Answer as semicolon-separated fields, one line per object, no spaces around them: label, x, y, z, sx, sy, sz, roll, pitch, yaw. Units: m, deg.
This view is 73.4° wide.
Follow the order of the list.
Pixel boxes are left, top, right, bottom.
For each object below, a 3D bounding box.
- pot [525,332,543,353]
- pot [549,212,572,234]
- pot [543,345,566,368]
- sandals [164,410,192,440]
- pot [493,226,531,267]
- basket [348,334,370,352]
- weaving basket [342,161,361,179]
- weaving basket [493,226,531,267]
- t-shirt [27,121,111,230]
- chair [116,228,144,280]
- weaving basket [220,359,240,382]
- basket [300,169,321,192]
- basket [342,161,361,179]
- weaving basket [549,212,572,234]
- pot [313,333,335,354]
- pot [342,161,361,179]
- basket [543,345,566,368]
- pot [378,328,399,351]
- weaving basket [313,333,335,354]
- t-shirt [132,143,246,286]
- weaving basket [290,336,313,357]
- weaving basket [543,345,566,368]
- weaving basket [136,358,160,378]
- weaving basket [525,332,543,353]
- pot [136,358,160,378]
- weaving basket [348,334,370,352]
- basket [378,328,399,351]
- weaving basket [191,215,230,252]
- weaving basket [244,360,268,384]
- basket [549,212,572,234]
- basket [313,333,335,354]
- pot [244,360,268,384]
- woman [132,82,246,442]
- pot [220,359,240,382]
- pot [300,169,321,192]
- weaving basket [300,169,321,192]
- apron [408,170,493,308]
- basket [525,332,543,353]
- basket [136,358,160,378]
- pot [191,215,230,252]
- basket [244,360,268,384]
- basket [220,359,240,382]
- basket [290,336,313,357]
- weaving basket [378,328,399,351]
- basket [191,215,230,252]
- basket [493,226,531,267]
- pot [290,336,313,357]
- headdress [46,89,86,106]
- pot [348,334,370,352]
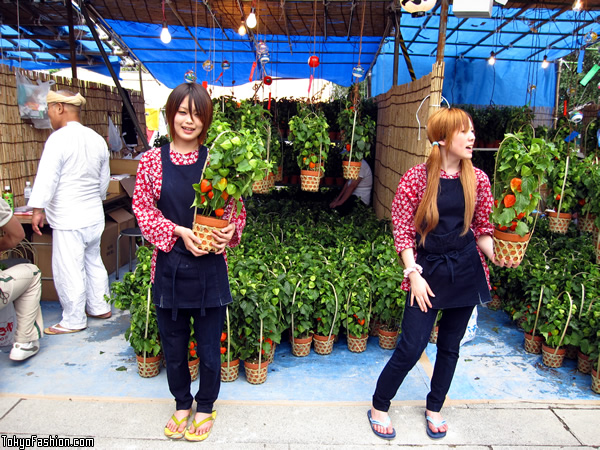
pot;2.534;1.303;4.485;0.188;0.187;0.194;1;1;0
pot;3.265;-0.030;5.140;0.261;0.296;0.269;1;-1;0
pot;2.662;1.362;4.292;0.215;0.201;0.222;2;0;0
sandals;-0.957;1.569;3.139;0.107;0.077;0.276;5;2;2
pot;1.678;0.171;3.230;0.272;0.238;0.254;8;3;0
basket;0.633;1.246;4.412;0.193;0.196;0.201;3;3;25
weaving basket;0.709;-0.782;5.646;0.239;0.216;0.242;1;6;10
weaving basket;1.650;0.167;3.184;0.272;0.238;0.254;10;4;32
t-shirt;-2.649;-0.601;4.756;0.520;1.130;0.841;14;12;28
chair;-2.602;0.424;5.996;0.473;0.602;0.486;-15;-12;43
weaving basket;-0.665;1.375;3.866;0.205;0.161;0.190;4;6;35
basket;0.112;-0.593;5.321;0.265;0.271;0.269;-2;10;-17
basket;0.710;-0.782;5.648;0.239;0.216;0.242;1;6;10
weaving basket;3.261;-0.029;5.210;0.261;0.296;0.269;1;-1;1
pot;0.235;1.254;4.357;0.206;0.174;0.222;2;-1;0
pot;0.707;-0.778;5.629;0.239;0.216;0.242;0;6;0
basket;2.617;1.356;4.258;0.215;0.201;0.222;2;0;6
pot;0.960;1.238;4.430;0.207;0.168;0.205;2;-1;0
weaving basket;0.234;1.263;4.355;0.206;0.174;0.222;3;-2;-41
t-shirt;-0.855;-0.056;2.958;0.665;0.996;0.334;-2;15;-7
weaving basket;0.006;1.277;4.239;0.205;0.159;0.200;1;-1;-12
weaving basket;2.620;1.356;4.263;0.215;0.201;0.222;2;0;6
weaving basket;-1.441;1.346;3.924;0.210;0.179;0.211;3;1;13
weaving basket;2.537;1.309;4.490;0.188;0.187;0.194;1;1;2
pot;-1.435;1.346;3.909;0.210;0.179;0.211;2;1;0
weaving basket;0.631;1.246;4.380;0.193;0.196;0.201;3;3;25
basket;0.960;1.241;4.439;0.207;0.168;0.205;1;-1;22
weaving basket;-0.645;0.045;2.802;0.232;0.263;0.239;6;2;38
weaving basket;-0.417;1.394;3.877;0.201;0.167;0.218;0;-2;1
basket;3.252;-0.032;5.200;0.261;0.296;0.269;1;-1;1
basket;0.244;1.258;4.350;0.206;0.174;0.222;3;-2;-41
pot;-0.426;1.387;3.878;0.201;0.167;0.218;0;-2;0
woman;-0.824;0.300;2.955;0.857;2.597;0.850;-1;5;-13
pot;-0.667;1.366;3.862;0.205;0.161;0.190;1;5;0
pot;0.147;-0.594;5.332;0.265;0.271;0.269;1;9;0
weaving basket;0.097;-0.592;5.317;0.265;0.271;0.269;-2;10;-17
apron;1.165;0.169;3.052;0.540;1.033;0.284;-2;15;-8
basket;2.537;1.302;4.491;0.188;0.187;0.194;1;1;2
basket;-1.439;1.345;3.916;0.210;0.179;0.211;3;1;13
pot;-0.634;0.052;2.914;0.232;0.263;0.239;5;1;0
basket;-0.428;1.385;3.880;0.201;0.167;0.218;0;-2;1
basket;-0.660;1.371;3.866;0.205;0.161;0.190;4;6;35
basket;0.018;1.274;4.298;0.229;0.230;0.148;-4;15;-14
weaving basket;0.959;1.238;4.430;0.207;0.168;0.205;1;-1;22
basket;-0.648;0.045;2.801;0.232;0.263;0.239;6;2;38
basket;1.706;0.201;3.291;0.273;0.262;0.296;3;11;-20
pot;0.006;1.277;4.243;0.205;0.159;0.200;1;-1;0
headdress;-2.724;-1.432;4.652;0.293;0.133;0.236;5;15;-3
pot;0.628;1.249;4.418;0.193;0.196;0.201;2;3;0
